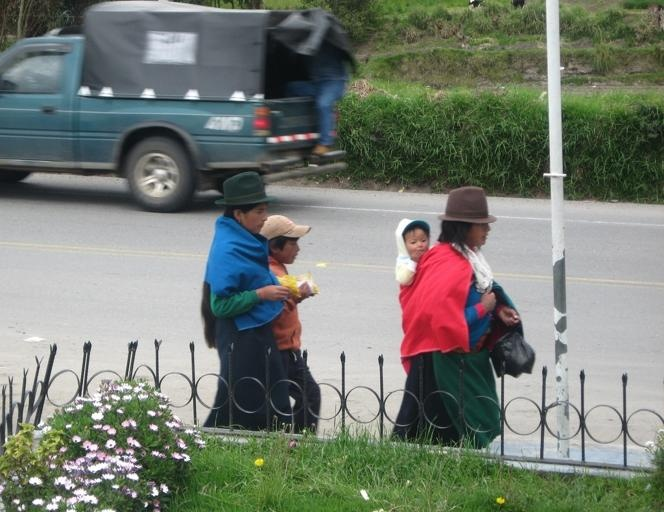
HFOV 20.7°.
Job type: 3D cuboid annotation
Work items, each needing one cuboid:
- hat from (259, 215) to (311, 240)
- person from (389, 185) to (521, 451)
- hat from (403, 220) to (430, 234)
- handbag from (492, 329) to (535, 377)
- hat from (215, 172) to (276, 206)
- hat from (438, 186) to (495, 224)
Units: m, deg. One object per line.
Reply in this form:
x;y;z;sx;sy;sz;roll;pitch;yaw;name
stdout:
-0.615;-0.400;24.163;0.523;0.188;0.332;-1;11;2;hat
1.592;0.782;23.795;1.470;3.376;0.505;-2;3;6;person
1.154;-0.431;23.974;0.288;0.176;0.370;1;13;9;hat
2.416;1.235;23.821;0.669;0.661;0.472;2;0;3;handbag
-1.165;-0.940;23.830;0.518;0.201;0.458;-5;6;12;hat
1.823;-0.686;23.802;0.554;0.292;0.532;0;6;29;hat
